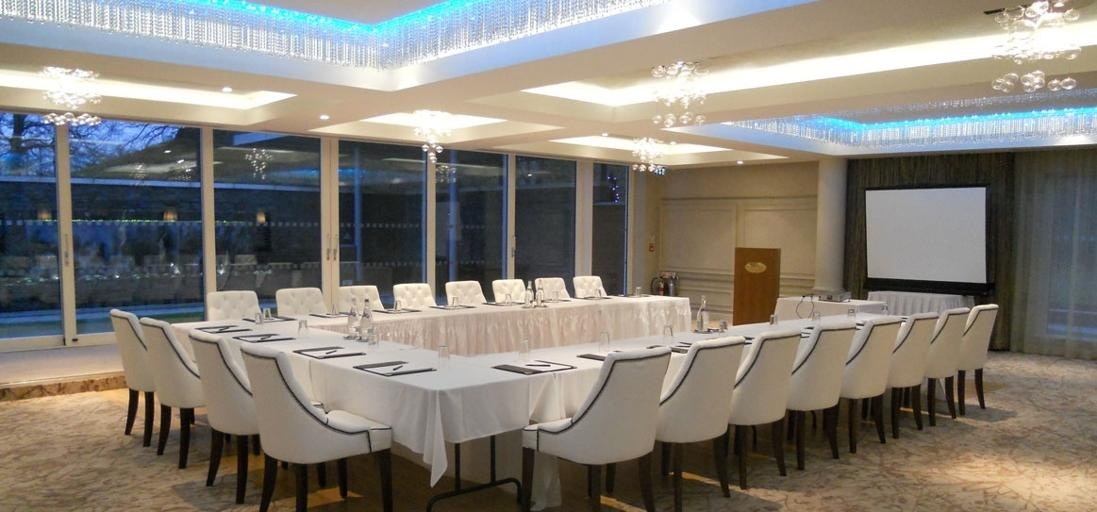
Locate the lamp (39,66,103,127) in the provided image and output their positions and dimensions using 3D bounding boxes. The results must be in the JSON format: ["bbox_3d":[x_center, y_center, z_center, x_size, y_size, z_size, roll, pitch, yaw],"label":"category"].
[{"bbox_3d":[-7.652,-2.606,10.832,0.809,1.013,2.687,-7,5,-34],"label":"lamp"}]

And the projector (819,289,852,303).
[{"bbox_3d":[5.754,0.801,13.283,0.461,0.122,0.435,-2,1,-31],"label":"projector"}]

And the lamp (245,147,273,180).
[{"bbox_3d":[-5.809,-1.868,13.524,0.661,0.527,0.152,-10,16,-39],"label":"lamp"}]

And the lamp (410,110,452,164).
[{"bbox_3d":[-2.232,-2.364,13.093,0.708,1.078,2.302,-4,4,-10],"label":"lamp"}]
